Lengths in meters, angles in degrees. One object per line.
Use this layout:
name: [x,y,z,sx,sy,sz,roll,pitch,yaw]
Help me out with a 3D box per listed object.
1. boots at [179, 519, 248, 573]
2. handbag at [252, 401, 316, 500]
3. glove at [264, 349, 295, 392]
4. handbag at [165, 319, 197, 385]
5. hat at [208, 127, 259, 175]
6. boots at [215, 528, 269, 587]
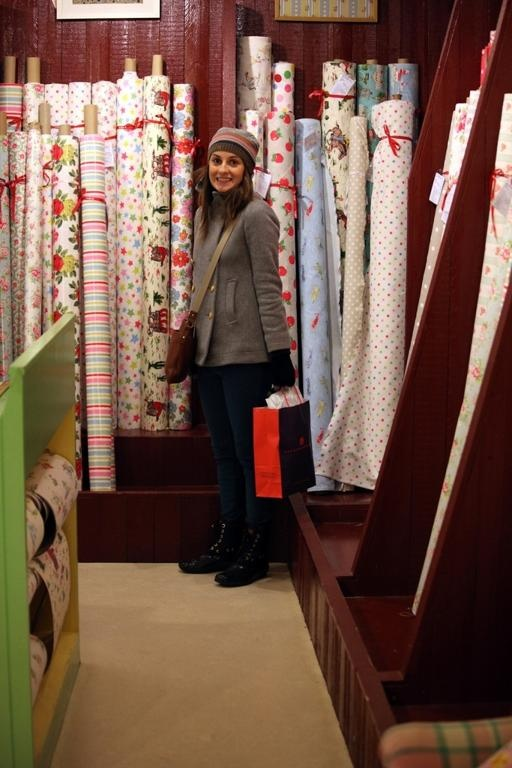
boots: [-0.150,0.668,2.729,0.314,0.303,0.134,2,-1,-25]
handbag: [0.095,0.236,2.361,0.101,0.357,0.296,0,5,29]
glove: [0.092,-0.054,2.372,0.098,0.148,0.129,1,1,8]
handbag: [-0.278,-0.134,2.380,0.100,0.248,0.053,0,1,-17]
hat: [-0.064,-0.880,2.415,0.218,0.162,0.117,0,1,-28]
boots: [-0.043,0.681,2.540,0.235,0.222,0.100,5,-19,-38]
